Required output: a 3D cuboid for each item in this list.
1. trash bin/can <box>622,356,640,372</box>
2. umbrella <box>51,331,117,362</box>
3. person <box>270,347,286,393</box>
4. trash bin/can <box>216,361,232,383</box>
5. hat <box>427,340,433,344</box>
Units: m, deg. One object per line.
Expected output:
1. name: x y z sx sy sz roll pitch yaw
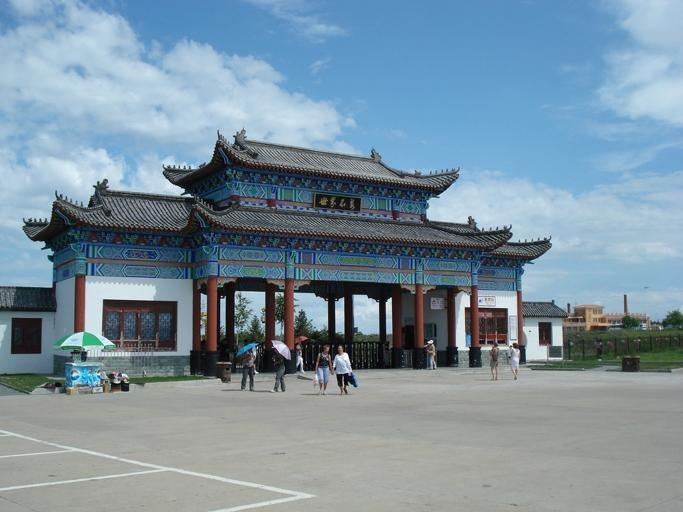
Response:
1. trash bin/can: 15.743 5.893 40.396 1.056 0.957 0.824 -2 -9 12
2. umbrella: -10.540 3.550 30.838 1.792 0.674 1.742 0 -11 -2
3. person: -2.774 5.040 32.744 0.807 2.384 0.789 12 -55 -9
4. trash bin/can: -5.482 5.481 34.827 0.527 0.909 0.933 3 -10 -18
5. hat: 5.327 5.123 44.292 0.349 0.162 0.473 -2 -4 3
